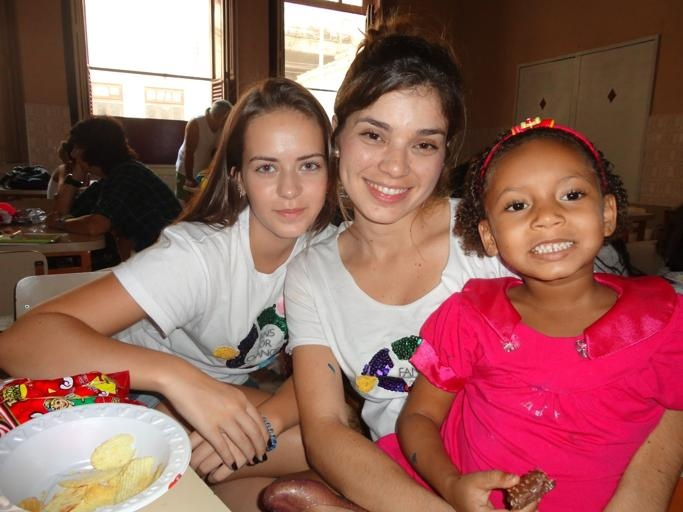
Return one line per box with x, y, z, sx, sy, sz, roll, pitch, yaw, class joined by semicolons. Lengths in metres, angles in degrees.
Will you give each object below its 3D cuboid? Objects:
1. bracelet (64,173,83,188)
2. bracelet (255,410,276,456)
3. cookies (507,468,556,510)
-2.205;-0.602;4.210;0.110;0.041;0.114;33;-20;17;bracelet
-0.223;0.549;1.583;0.047;0.133;0.094;-8;-9;-21;bracelet
0.455;0.559;1.237;0.113;0.078;0.033;-27;-32;-2;cookies
